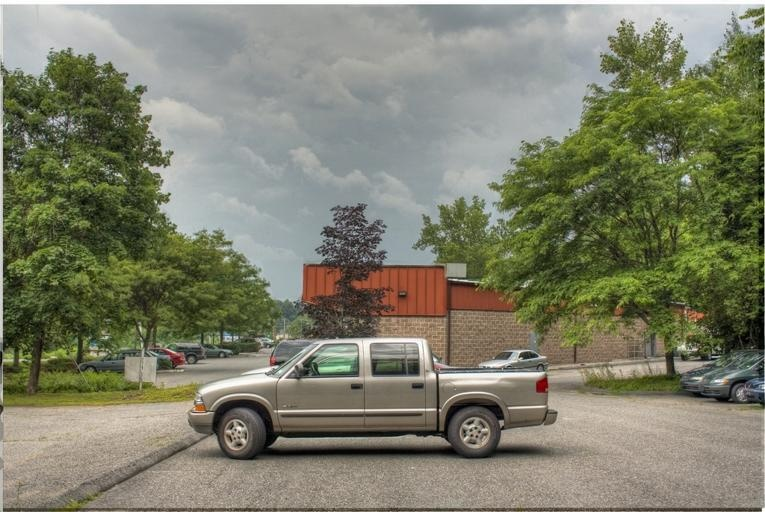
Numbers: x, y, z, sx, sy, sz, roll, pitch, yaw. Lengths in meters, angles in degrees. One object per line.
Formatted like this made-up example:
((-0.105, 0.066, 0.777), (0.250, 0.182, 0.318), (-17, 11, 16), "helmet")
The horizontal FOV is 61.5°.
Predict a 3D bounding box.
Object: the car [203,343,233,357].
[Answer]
((-18.630, 10.556, 72.091), (3.235, 1.103, 1.384), (-1, -2, -1), "car")
